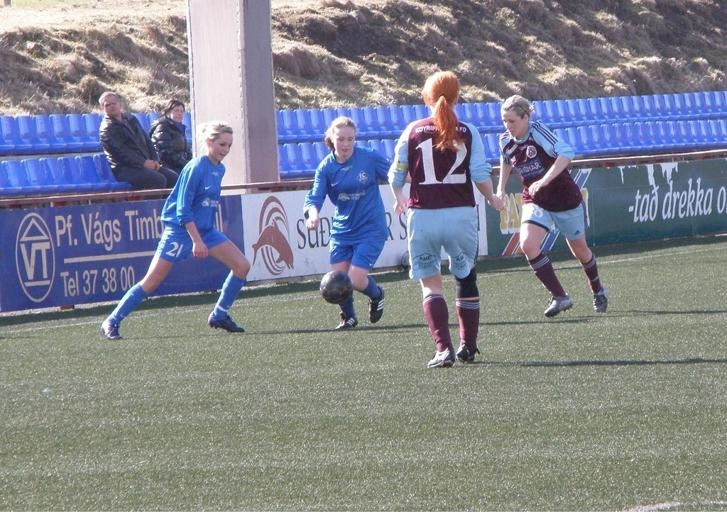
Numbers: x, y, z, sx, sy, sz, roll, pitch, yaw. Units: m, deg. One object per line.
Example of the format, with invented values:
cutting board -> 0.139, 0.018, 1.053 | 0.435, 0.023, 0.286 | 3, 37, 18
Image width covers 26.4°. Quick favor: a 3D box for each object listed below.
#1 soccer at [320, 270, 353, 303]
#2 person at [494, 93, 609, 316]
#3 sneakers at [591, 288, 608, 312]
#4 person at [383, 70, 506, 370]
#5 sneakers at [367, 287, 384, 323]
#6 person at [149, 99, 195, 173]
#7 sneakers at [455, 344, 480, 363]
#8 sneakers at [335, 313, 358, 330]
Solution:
soccer -> -0.407, 0.443, 21.180 | 0.405, 0.427, 0.457 | -18, 21, -13
person -> 2.598, -0.715, 21.814 | 1.463, 3.084, 0.964 | -1, 7, 5
sneakers -> 3.298, 0.652, 21.947 | 0.160, 0.357, 0.209 | -4, -24, 46
person -> 1.005, -0.436, 19.799 | 1.168, 3.740, 0.480 | -1, 7, 2
sneakers -> 0.142, 0.687, 21.793 | 0.163, 0.531, 0.217 | 6, 14, 24
person -> -3.251, -1.957, 26.132 | 0.992, 1.483, 0.922 | 2, 9, 5
sneakers -> 1.294, 1.264, 19.914 | 0.133, 0.182, 0.388 | 2, -3, 15
sneakers -> -0.252, 0.932, 21.623 | 0.378, 0.266, 0.137 | -4, 2, 5
